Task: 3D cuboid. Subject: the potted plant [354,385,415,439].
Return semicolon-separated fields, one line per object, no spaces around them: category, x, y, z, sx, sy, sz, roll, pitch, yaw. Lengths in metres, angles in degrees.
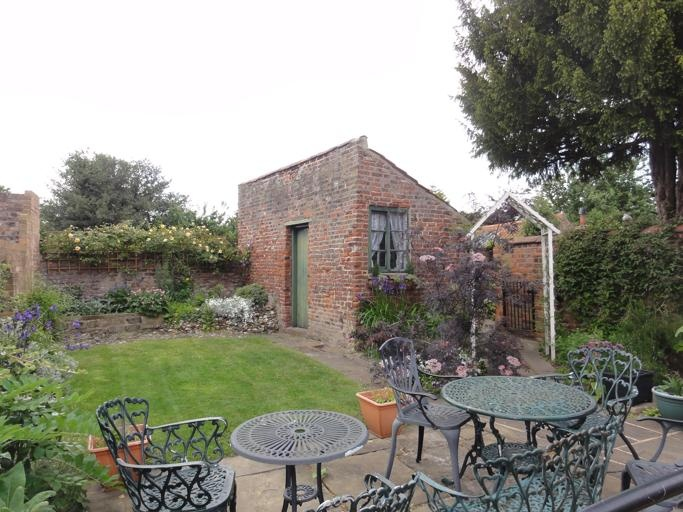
potted plant;0.539;1.985;6.289;0.524;0.500;0.613;1;0;-23

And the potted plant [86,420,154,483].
potted plant;-2.409;1.994;5.072;0.593;0.395;0.836;2;-7;-13

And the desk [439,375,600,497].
desk;1.875;1.593;5.124;1.215;0.815;1.273;-1;0;2

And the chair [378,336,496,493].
chair;0.879;1.725;5.706;1.303;2.031;1.317;-6;-5;38
